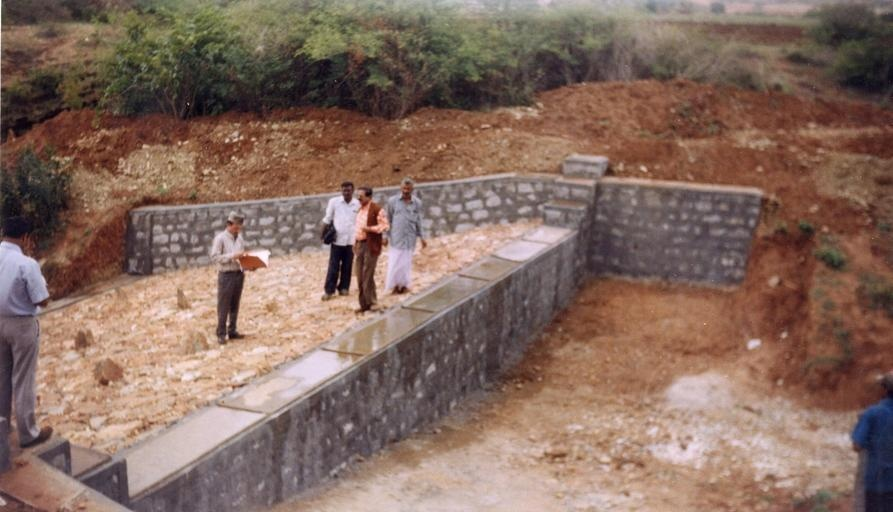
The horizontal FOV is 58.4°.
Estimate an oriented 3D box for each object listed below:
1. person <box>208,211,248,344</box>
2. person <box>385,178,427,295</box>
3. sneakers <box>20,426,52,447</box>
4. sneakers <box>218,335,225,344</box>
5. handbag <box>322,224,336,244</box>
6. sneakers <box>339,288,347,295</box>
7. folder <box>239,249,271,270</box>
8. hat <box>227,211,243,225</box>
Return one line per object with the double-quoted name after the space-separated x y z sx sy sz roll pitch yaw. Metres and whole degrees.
-4.414 0.470 16.256 0.706 2.643 0.785 -6 26 -17 "person"
-0.862 -0.463 17.314 1.148 2.441 0.705 -21 33 -41 "person"
-6.786 3.044 13.409 0.545 0.235 0.231 -24 29 -33 "sneakers"
-4.592 1.726 16.359 0.144 0.242 0.160 0 -5 -6 "sneakers"
-2.510 -0.458 17.250 0.288 0.391 0.165 4 -5 5 "handbag"
-2.255 0.804 17.686 0.121 0.113 0.121 1 1 10 "sneakers"
-3.808 0.099 15.899 0.717 0.375 0.291 11 26 18 "folder"
-4.237 -0.751 16.069 0.338 0.283 0.379 2 6 -10 "hat"
